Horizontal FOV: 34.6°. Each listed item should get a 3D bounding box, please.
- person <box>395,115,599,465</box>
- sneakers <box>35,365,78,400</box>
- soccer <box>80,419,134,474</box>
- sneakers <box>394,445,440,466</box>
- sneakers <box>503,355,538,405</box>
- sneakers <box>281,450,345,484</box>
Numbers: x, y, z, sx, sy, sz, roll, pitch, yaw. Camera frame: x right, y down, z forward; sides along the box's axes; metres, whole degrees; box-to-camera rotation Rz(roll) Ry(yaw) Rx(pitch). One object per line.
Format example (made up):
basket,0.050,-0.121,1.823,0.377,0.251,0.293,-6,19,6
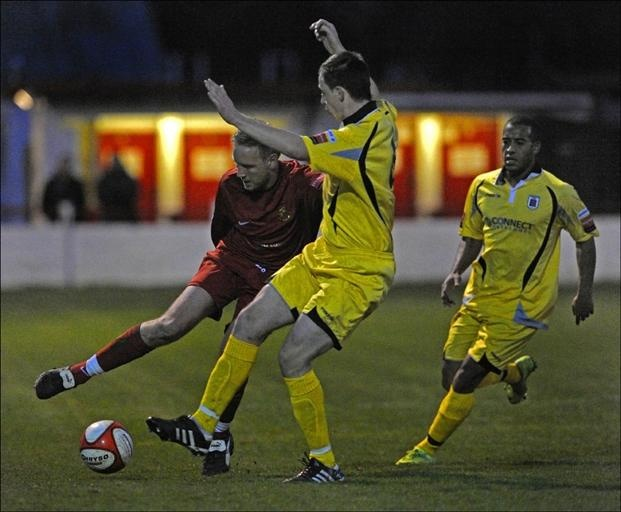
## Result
person,1.275,0.210,6.593,1.174,2.228,0.699,1,9,4
sneakers,-1.619,0.799,6.390,0.305,0.133,0.124,-11,10,-5
soccer,-1.263,1.190,6.167,0.251,0.230,0.242,-25,13,14
sneakers,0.692,1.310,6.524,0.268,0.100,0.104,2,-9,-10
sneakers,1.496,0.867,7.135,0.235,0.436,0.172,1,19,2
sneakers,0.045,1.303,6.112,0.471,0.179,0.142,1,0,-2
